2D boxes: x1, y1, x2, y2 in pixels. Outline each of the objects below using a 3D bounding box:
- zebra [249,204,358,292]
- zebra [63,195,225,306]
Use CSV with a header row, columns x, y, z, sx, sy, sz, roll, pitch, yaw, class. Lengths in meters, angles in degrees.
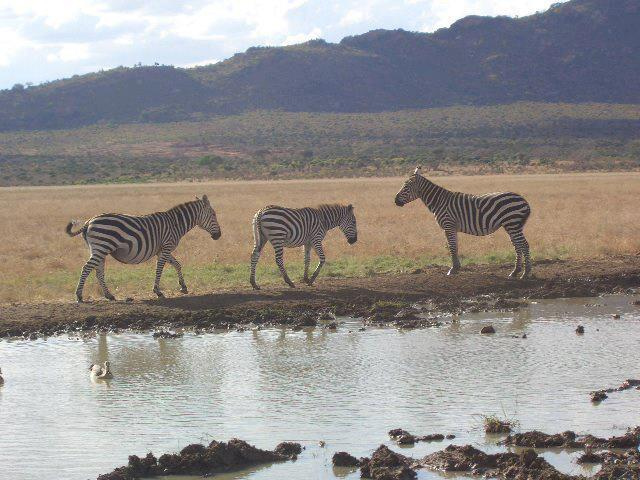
x,y,z,sx,sy,sz,roll,pitch,yaw,class
-0.535,0.122,40.709,4.709,2.776,1.220,-1,-1,-41,zebra
-5.599,0.231,39.418,5.447,3.265,1.333,-3,6,-32,zebra
